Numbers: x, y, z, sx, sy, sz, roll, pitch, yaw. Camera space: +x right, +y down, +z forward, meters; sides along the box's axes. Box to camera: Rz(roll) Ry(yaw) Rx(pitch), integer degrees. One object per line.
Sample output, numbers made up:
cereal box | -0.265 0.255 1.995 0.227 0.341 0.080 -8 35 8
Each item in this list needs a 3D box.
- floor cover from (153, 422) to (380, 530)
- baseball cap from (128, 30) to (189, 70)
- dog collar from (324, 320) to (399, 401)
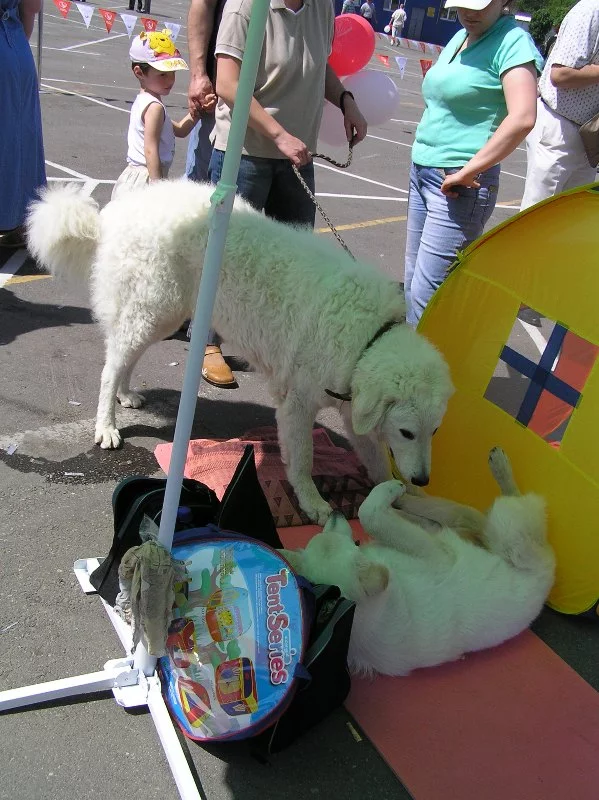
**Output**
floor cover | -0.074 0.315 3.067 0.545 0.110 0.547 -9 41 -28
baseball cap | -0.839 -2.097 4.128 0.312 0.219 0.448 8 24 -15
dog collar | 0.210 -0.202 2.663 0.092 0.338 0.246 42 2 2
